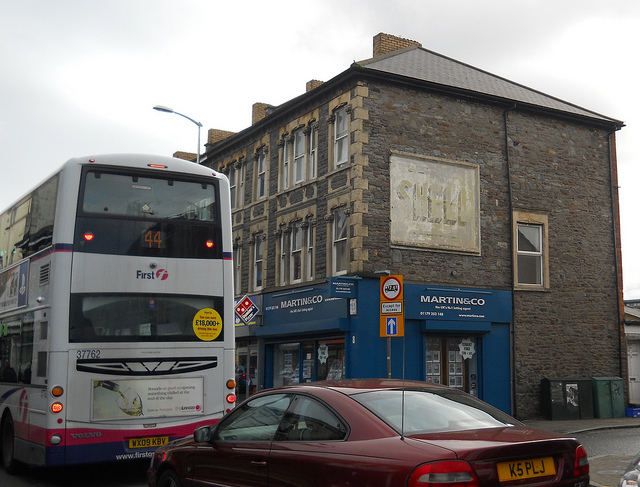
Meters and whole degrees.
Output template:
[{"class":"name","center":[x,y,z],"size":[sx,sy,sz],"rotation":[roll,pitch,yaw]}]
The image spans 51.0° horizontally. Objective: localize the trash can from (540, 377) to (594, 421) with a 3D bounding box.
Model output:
[{"class":"trash can","center":[8.825,5.519,23.852],"size":[1.524,1.484,0.875],"rotation":[-1,-9,-3]}]
